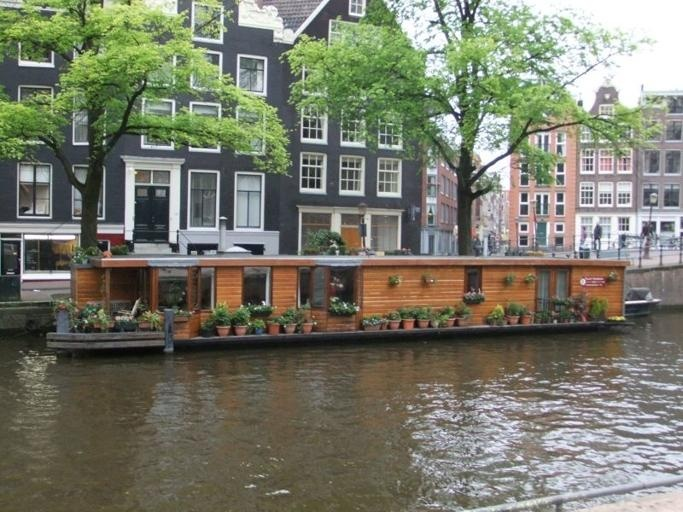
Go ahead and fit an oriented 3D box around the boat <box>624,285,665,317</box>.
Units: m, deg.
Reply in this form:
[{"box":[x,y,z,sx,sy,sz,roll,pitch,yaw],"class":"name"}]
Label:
[{"box":[14.216,2.167,38.360,3.522,1.111,1.235,-3,5,-41],"class":"boat"}]
